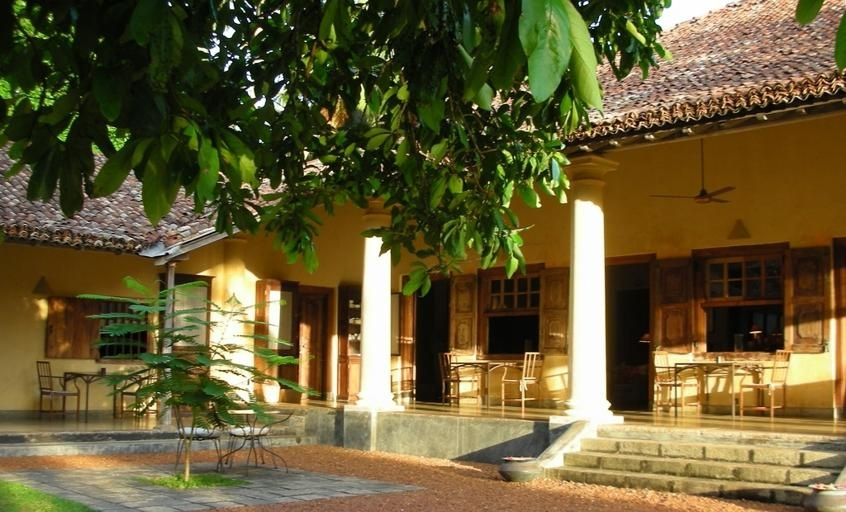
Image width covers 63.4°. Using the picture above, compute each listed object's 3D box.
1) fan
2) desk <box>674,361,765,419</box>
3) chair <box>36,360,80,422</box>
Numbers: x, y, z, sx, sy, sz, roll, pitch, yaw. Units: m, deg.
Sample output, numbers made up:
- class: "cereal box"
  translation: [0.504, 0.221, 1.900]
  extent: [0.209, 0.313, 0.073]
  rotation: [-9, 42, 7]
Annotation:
- class: "fan"
  translation: [4.411, -1.386, 11.346]
  extent: [1.285, 1.346, 1.395]
  rotation: [-5, -11, 23]
- class: "desk"
  translation: [4.731, 2.311, 11.062]
  extent: [1.011, 0.892, 1.327]
  rotation: [-5, -7, 36]
- class: "chair"
  translation: [-6.977, 2.553, 13.046]
  extent: [0.824, 0.973, 0.744]
  rotation: [6, -13, -24]
